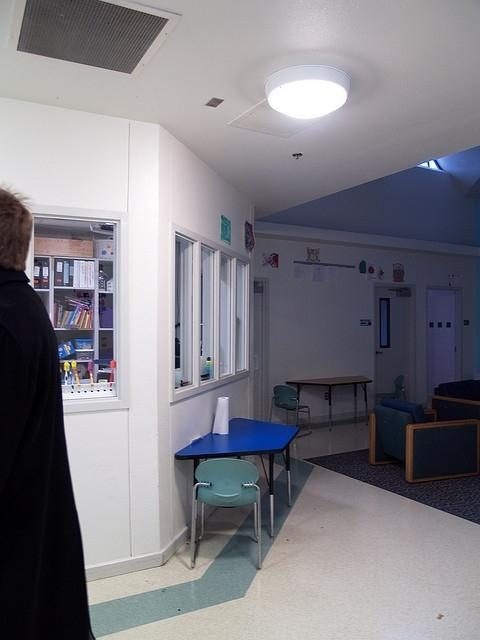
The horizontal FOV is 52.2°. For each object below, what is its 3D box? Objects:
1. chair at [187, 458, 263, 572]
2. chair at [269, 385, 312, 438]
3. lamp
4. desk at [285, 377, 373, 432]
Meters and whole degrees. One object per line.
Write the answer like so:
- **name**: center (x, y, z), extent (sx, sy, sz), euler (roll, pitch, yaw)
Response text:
- **chair**: center (-0.073, 1.135, 3.073), extent (0.502, 0.678, 0.520), euler (4, 7, 26)
- **chair**: center (0.641, 1.176, 6.516), extent (0.445, 0.715, 0.438), euler (-1, 3, 29)
- **lamp**: center (0.334, -1.159, 2.472), extent (0.367, 0.208, 0.322), euler (-1, 0, -24)
- **desk**: center (1.614, 1.244, 7.602), extent (0.565, 0.694, 1.371), euler (-8, -4, 7)
